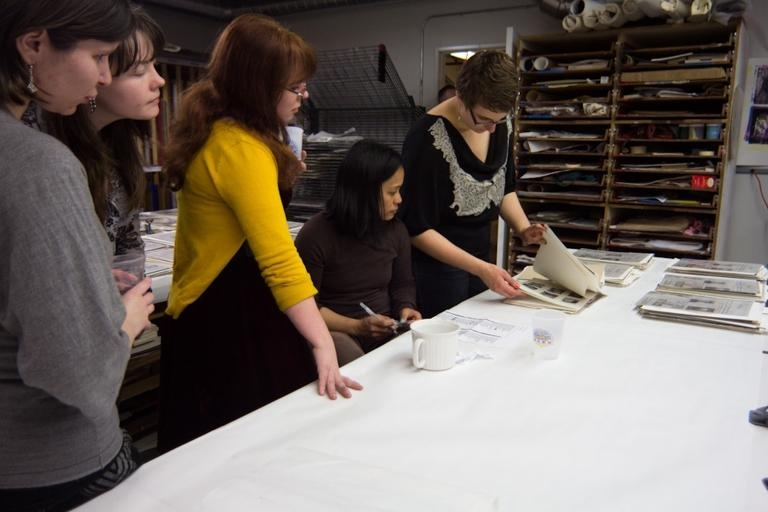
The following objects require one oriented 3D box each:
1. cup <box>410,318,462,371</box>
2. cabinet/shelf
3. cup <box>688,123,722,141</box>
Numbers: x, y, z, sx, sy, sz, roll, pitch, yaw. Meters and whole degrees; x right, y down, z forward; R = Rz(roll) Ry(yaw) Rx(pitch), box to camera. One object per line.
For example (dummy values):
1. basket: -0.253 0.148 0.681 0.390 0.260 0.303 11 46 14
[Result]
1. cup: 0.112 0.250 1.278 0.116 0.116 0.178 9 10 24
2. cabinet/shelf: 1.988 -1.059 4.028 1.575 2.244 0.714 7 51 28
3. cup: 2.286 -0.871 3.411 0.157 0.093 0.129 4 5 37
